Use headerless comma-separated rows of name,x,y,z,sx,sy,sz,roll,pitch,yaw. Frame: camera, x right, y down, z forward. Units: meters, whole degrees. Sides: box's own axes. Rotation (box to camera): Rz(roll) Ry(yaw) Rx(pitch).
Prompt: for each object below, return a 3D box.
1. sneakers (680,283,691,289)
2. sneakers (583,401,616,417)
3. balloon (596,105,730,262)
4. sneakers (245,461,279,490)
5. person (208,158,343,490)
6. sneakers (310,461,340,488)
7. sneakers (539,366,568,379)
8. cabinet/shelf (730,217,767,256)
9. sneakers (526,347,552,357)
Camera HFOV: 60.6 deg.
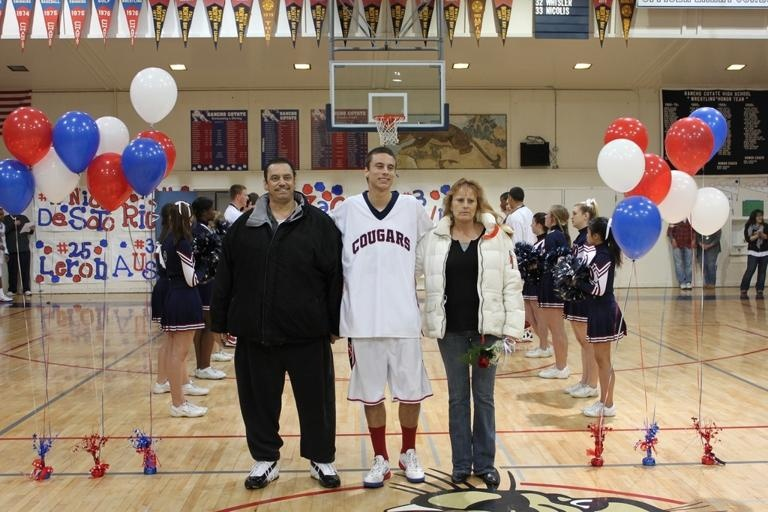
sneakers,6.740,0.659,14.646,0.169,0.078,0.110,-3,0,20
sneakers,2.252,1.588,6.968,0.364,0.180,0.217,2,-9,5
balloon,2.673,-0.722,6.341,1.250,1.364,0.597,-5,12,-24
sneakers,-1.103,1.956,5.900,0.129,0.193,0.413,-6,-11,20
person,-0.933,0.592,5.902,1.134,2.862,0.687,-1,11,-4
sneakers,-0.536,1.958,5.985,0.131,0.169,0.355,4,-1,-38
sneakers,2.125,1.443,8.215,0.387,0.181,0.150,1,-2,14
cabinet/shelf,7.922,-0.443,14.244,0.738,0.814,0.261,1,1,1
sneakers,2.137,1.300,9.045,0.358,0.166,0.140,0,-5,1
